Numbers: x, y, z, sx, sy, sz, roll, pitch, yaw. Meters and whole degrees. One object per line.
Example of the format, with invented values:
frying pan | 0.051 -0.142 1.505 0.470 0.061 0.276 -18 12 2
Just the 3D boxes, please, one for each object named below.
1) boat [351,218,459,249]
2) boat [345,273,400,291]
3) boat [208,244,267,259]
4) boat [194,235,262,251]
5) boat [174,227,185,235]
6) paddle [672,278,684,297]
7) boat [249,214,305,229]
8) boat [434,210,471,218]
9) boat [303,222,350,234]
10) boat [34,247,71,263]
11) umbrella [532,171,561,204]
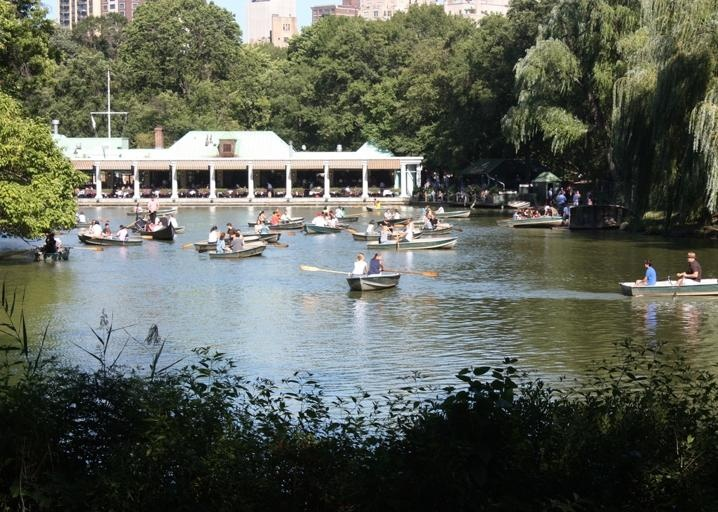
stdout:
boat | 2.477 -0.981 47.823 4.204 1.115 3.689 -1 -1 2
boat | 0.487 0.893 33.578 1.918 0.492 0.674 -1 -1 -27
boat | -5.228 -0.146 42.859 1.673 0.442 0.945 -3 6 -16
boat | -6.166 -0.554 45.892 2.178 0.357 1.302 -10 16 -41
boat | -9.870 -1.393 54.211 0.276 0.208 1.247 2 11 5
paddle | 10.024 0.928 31.293 0.335 0.149 0.581 -7 40 36
boat | -4.509 -1.888 58.495 1.158 0.509 2.944 15 17 42
boat | 6.366 -2.831 66.562 2.890 0.494 1.361 -1 -1 -41
boat | -2.056 -1.535 56.293 1.944 0.463 0.824 -1 10 -4
boat | -12.761 -0.078 41.157 1.368 0.611 1.324 -1 -1 -18
umbrella | 12.769 -4.719 67.980 1.645 1.883 4.448 -1 -1 9
